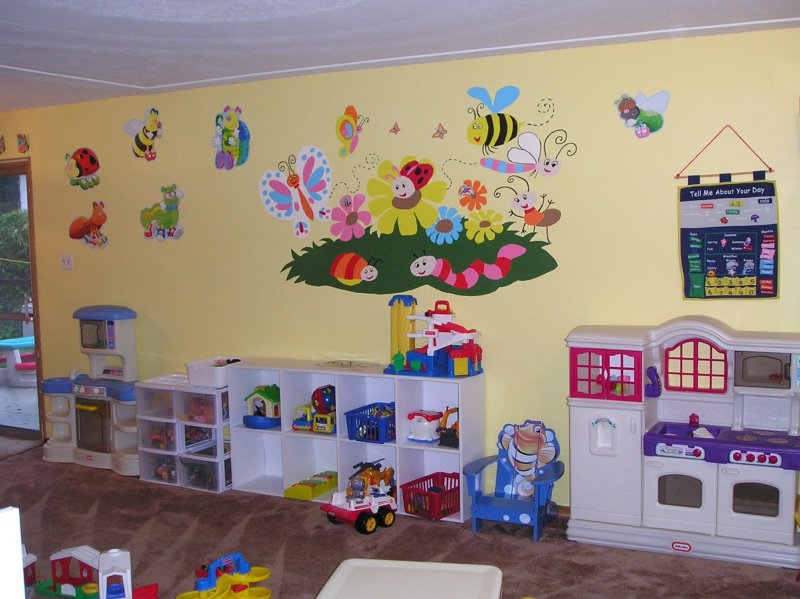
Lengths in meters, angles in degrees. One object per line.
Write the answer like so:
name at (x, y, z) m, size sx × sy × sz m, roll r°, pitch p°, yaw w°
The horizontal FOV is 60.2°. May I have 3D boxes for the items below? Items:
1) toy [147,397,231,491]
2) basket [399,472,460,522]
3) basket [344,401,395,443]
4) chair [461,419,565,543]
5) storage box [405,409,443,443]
toy at (-1.670, 1.061, 5.350) m, size 0.816 × 0.736 × 0.251 m, roll 3°, pitch 11°, yaw 23°
basket at (0.251, 1.345, 4.772) m, size 0.252 × 0.157 × 0.338 m, roll -1°, pitch 2°, yaw 31°
basket at (-0.194, 0.858, 4.942) m, size 0.394 × 0.258 × 0.334 m, roll 1°, pitch 11°, yaw 16°
chair at (0.800, 1.158, 4.641) m, size 0.809 × 0.856 × 0.619 m, roll 2°, pitch 6°, yaw 29°
storage box at (0.149, 0.887, 4.781) m, size 0.202 × 0.187 × 0.209 m, roll 0°, pitch -1°, yaw 20°
